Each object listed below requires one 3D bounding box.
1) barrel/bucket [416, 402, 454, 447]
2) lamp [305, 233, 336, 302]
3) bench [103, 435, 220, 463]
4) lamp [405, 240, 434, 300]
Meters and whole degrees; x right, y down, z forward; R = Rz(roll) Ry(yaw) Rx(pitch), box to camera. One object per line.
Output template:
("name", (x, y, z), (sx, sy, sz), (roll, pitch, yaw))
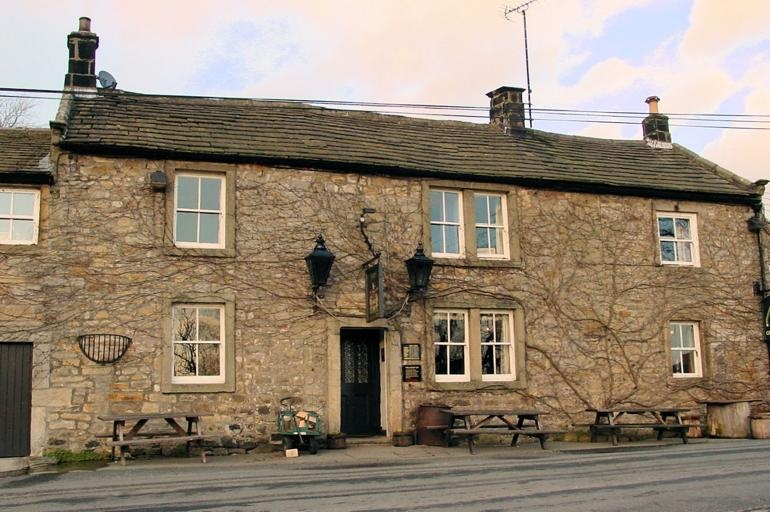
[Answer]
("barrel/bucket", (1.000, 3.749, 24.418), (0.952, 0.781, 0.928), (0, -6, 0))
("lamp", (-1.469, 0.150, 24.321), (0.659, 1.417, 0.798), (0, -13, -8))
("bench", (-4.687, 3.982, 22.744), (1.994, 0.561, 1.487), (1, -12, -11))
("lamp", (0.721, 0.268, 24.788), (0.638, 1.132, 0.891), (-2, -12, 2))
